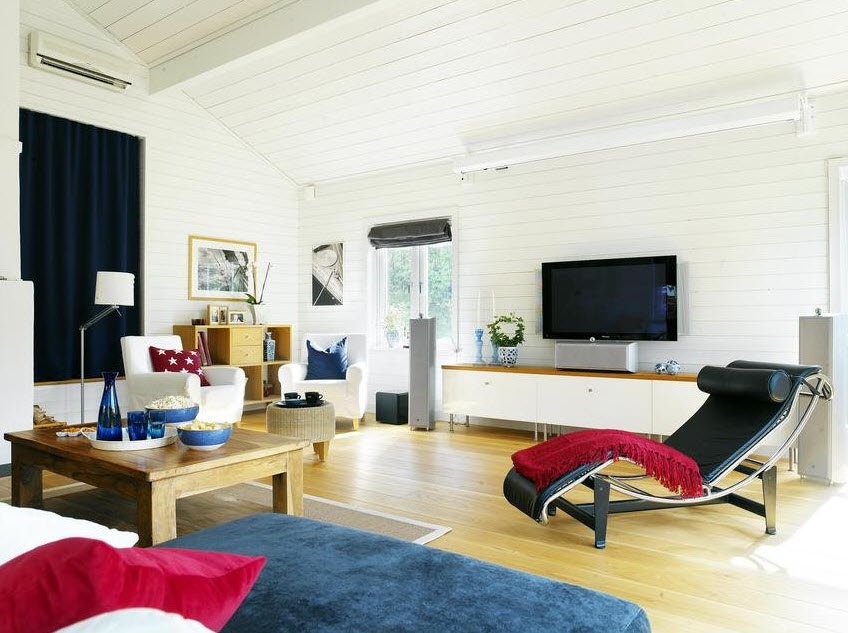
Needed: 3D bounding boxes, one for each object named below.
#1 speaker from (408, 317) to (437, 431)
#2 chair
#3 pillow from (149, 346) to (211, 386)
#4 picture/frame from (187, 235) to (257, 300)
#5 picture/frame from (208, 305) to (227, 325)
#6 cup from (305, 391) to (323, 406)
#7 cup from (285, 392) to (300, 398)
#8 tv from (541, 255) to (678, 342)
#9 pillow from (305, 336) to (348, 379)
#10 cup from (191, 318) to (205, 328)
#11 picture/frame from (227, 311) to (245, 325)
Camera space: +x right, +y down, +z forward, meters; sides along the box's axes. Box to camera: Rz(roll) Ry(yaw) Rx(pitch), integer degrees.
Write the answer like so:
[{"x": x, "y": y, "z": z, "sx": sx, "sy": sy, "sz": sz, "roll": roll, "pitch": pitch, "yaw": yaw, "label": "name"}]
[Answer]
[{"x": -0.023, "y": 0.598, "z": 6.424, "sx": 0.270, "sy": 1.161, "sz": 0.226, "roll": 0, "pitch": 3, "yaw": -6, "label": "speaker"}, {"x": 1.454, "y": 0.784, "z": 3.880, "sx": 1.899, "sy": 1.003, "sz": 0.983, "roll": 1, "pitch": -2, "yaw": -6, "label": "chair"}, {"x": -2.320, "y": 0.412, "z": 5.729, "sx": 0.139, "sy": 0.423, "sz": 0.473, "roll": -37, "pitch": -24, "yaw": 25, "label": "pillow"}, {"x": -2.421, "y": -0.576, "z": 7.202, "sx": 0.038, "sy": 0.630, "sz": 0.866, "roll": 1, "pitch": 1, "yaw": 36, "label": "picture/frame"}, {"x": -2.374, "y": -0.008, "z": 6.984, "sx": 0.031, "sy": 0.157, "sz": 0.235, "roll": -6, "pitch": -9, "yaw": 35, "label": "picture/frame"}, {"x": -0.888, "y": 0.669, "z": 4.928, "sx": 0.095, "sy": 0.084, "sz": 0.132, "roll": -2, "pitch": -9, "yaw": 9, "label": "cup"}, {"x": -1.183, "y": 0.703, "z": 5.453, "sx": 0.110, "sy": 0.052, "sz": 0.146, "roll": 2, "pitch": -2, "yaw": -41, "label": "cup"}, {"x": 1.783, "y": -0.164, "z": 5.706, "sx": 0.914, "sy": 0.532, "sz": 0.098, "roll": 0, "pitch": 1, "yaw": 33, "label": "tv"}, {"x": -1.062, "y": 0.464, "z": 6.667, "sx": 0.470, "sy": 0.409, "sz": 0.180, "roll": 0, "pitch": -16, "yaw": -2, "label": "pillow"}, {"x": -2.531, "y": 0.073, "z": 6.816, "sx": 0.094, "sy": 0.070, "sz": 0.118, "roll": 3, "pitch": 2, "yaw": 32, "label": "cup"}, {"x": -2.210, "y": 0.010, "z": 7.227, "sx": 0.099, "sy": 0.121, "sz": 0.281, "roll": 1, "pitch": 3, "yaw": 23, "label": "picture/frame"}]
